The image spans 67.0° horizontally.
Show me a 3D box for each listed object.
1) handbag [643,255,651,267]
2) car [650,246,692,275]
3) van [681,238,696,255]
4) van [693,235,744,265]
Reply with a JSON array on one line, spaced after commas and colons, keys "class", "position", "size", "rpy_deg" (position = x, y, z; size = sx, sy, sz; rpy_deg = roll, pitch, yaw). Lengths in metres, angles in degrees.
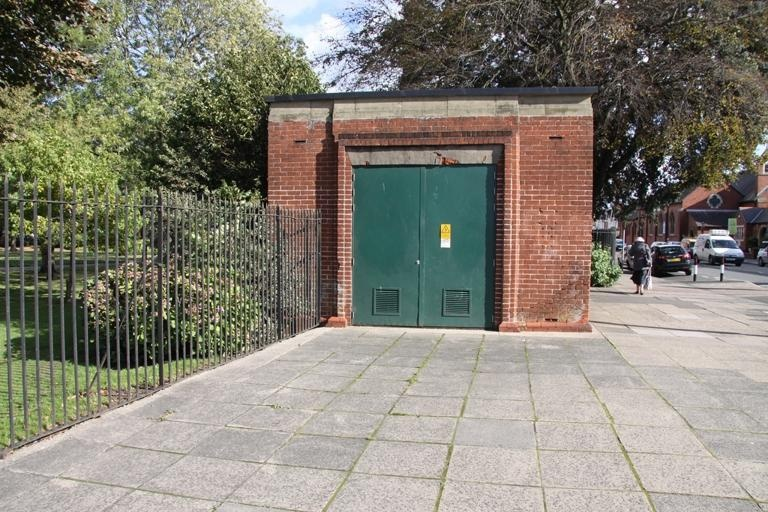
[{"class": "handbag", "position": [9.228, 0.170, 20.323], "size": [0.126, 0.430, 0.596], "rpy_deg": [7, 11, 39]}, {"class": "car", "position": [15.692, 0.250, 31.832], "size": [1.809, 1.692, 1.236], "rpy_deg": [4, 9, 25]}, {"class": "van", "position": [22.922, -0.708, 43.727], "size": [1.087, 1.073, 1.940], "rpy_deg": [2, 11, 15]}, {"class": "van", "position": [24.541, -0.420, 42.853], "size": [2.183, 2.055, 4.266], "rpy_deg": [0, -4, 9]}]
